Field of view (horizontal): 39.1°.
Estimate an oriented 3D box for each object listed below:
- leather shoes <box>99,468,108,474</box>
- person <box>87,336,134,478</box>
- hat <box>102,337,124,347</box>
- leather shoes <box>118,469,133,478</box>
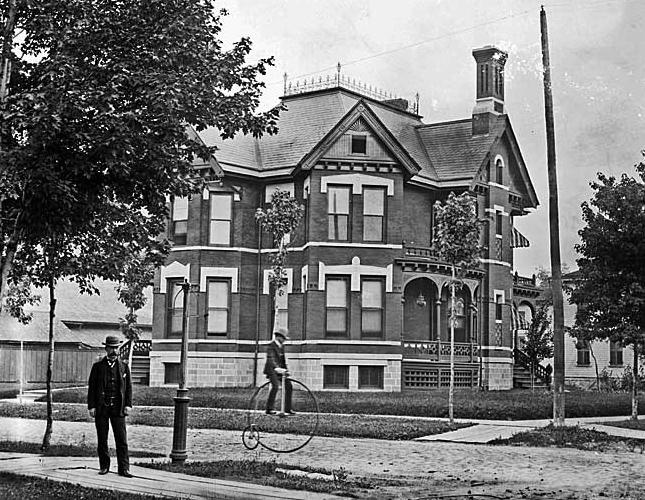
[{"bbox_3d":[-3.839,3.865,15.867,0.066,0.075,0.160,8,-20,-29],"label":"leather shoes"},{"bbox_3d":[-3.823,2.754,16.358,0.790,2.508,1.405,2,-8,-14],"label":"person"},{"bbox_3d":[-3.884,1.668,16.567,0.291,0.149,0.348,4,-8,-33],"label":"hat"},{"bbox_3d":[-3.427,3.872,15.760,0.283,0.144,0.106,-2,-6,18],"label":"leather shoes"}]
